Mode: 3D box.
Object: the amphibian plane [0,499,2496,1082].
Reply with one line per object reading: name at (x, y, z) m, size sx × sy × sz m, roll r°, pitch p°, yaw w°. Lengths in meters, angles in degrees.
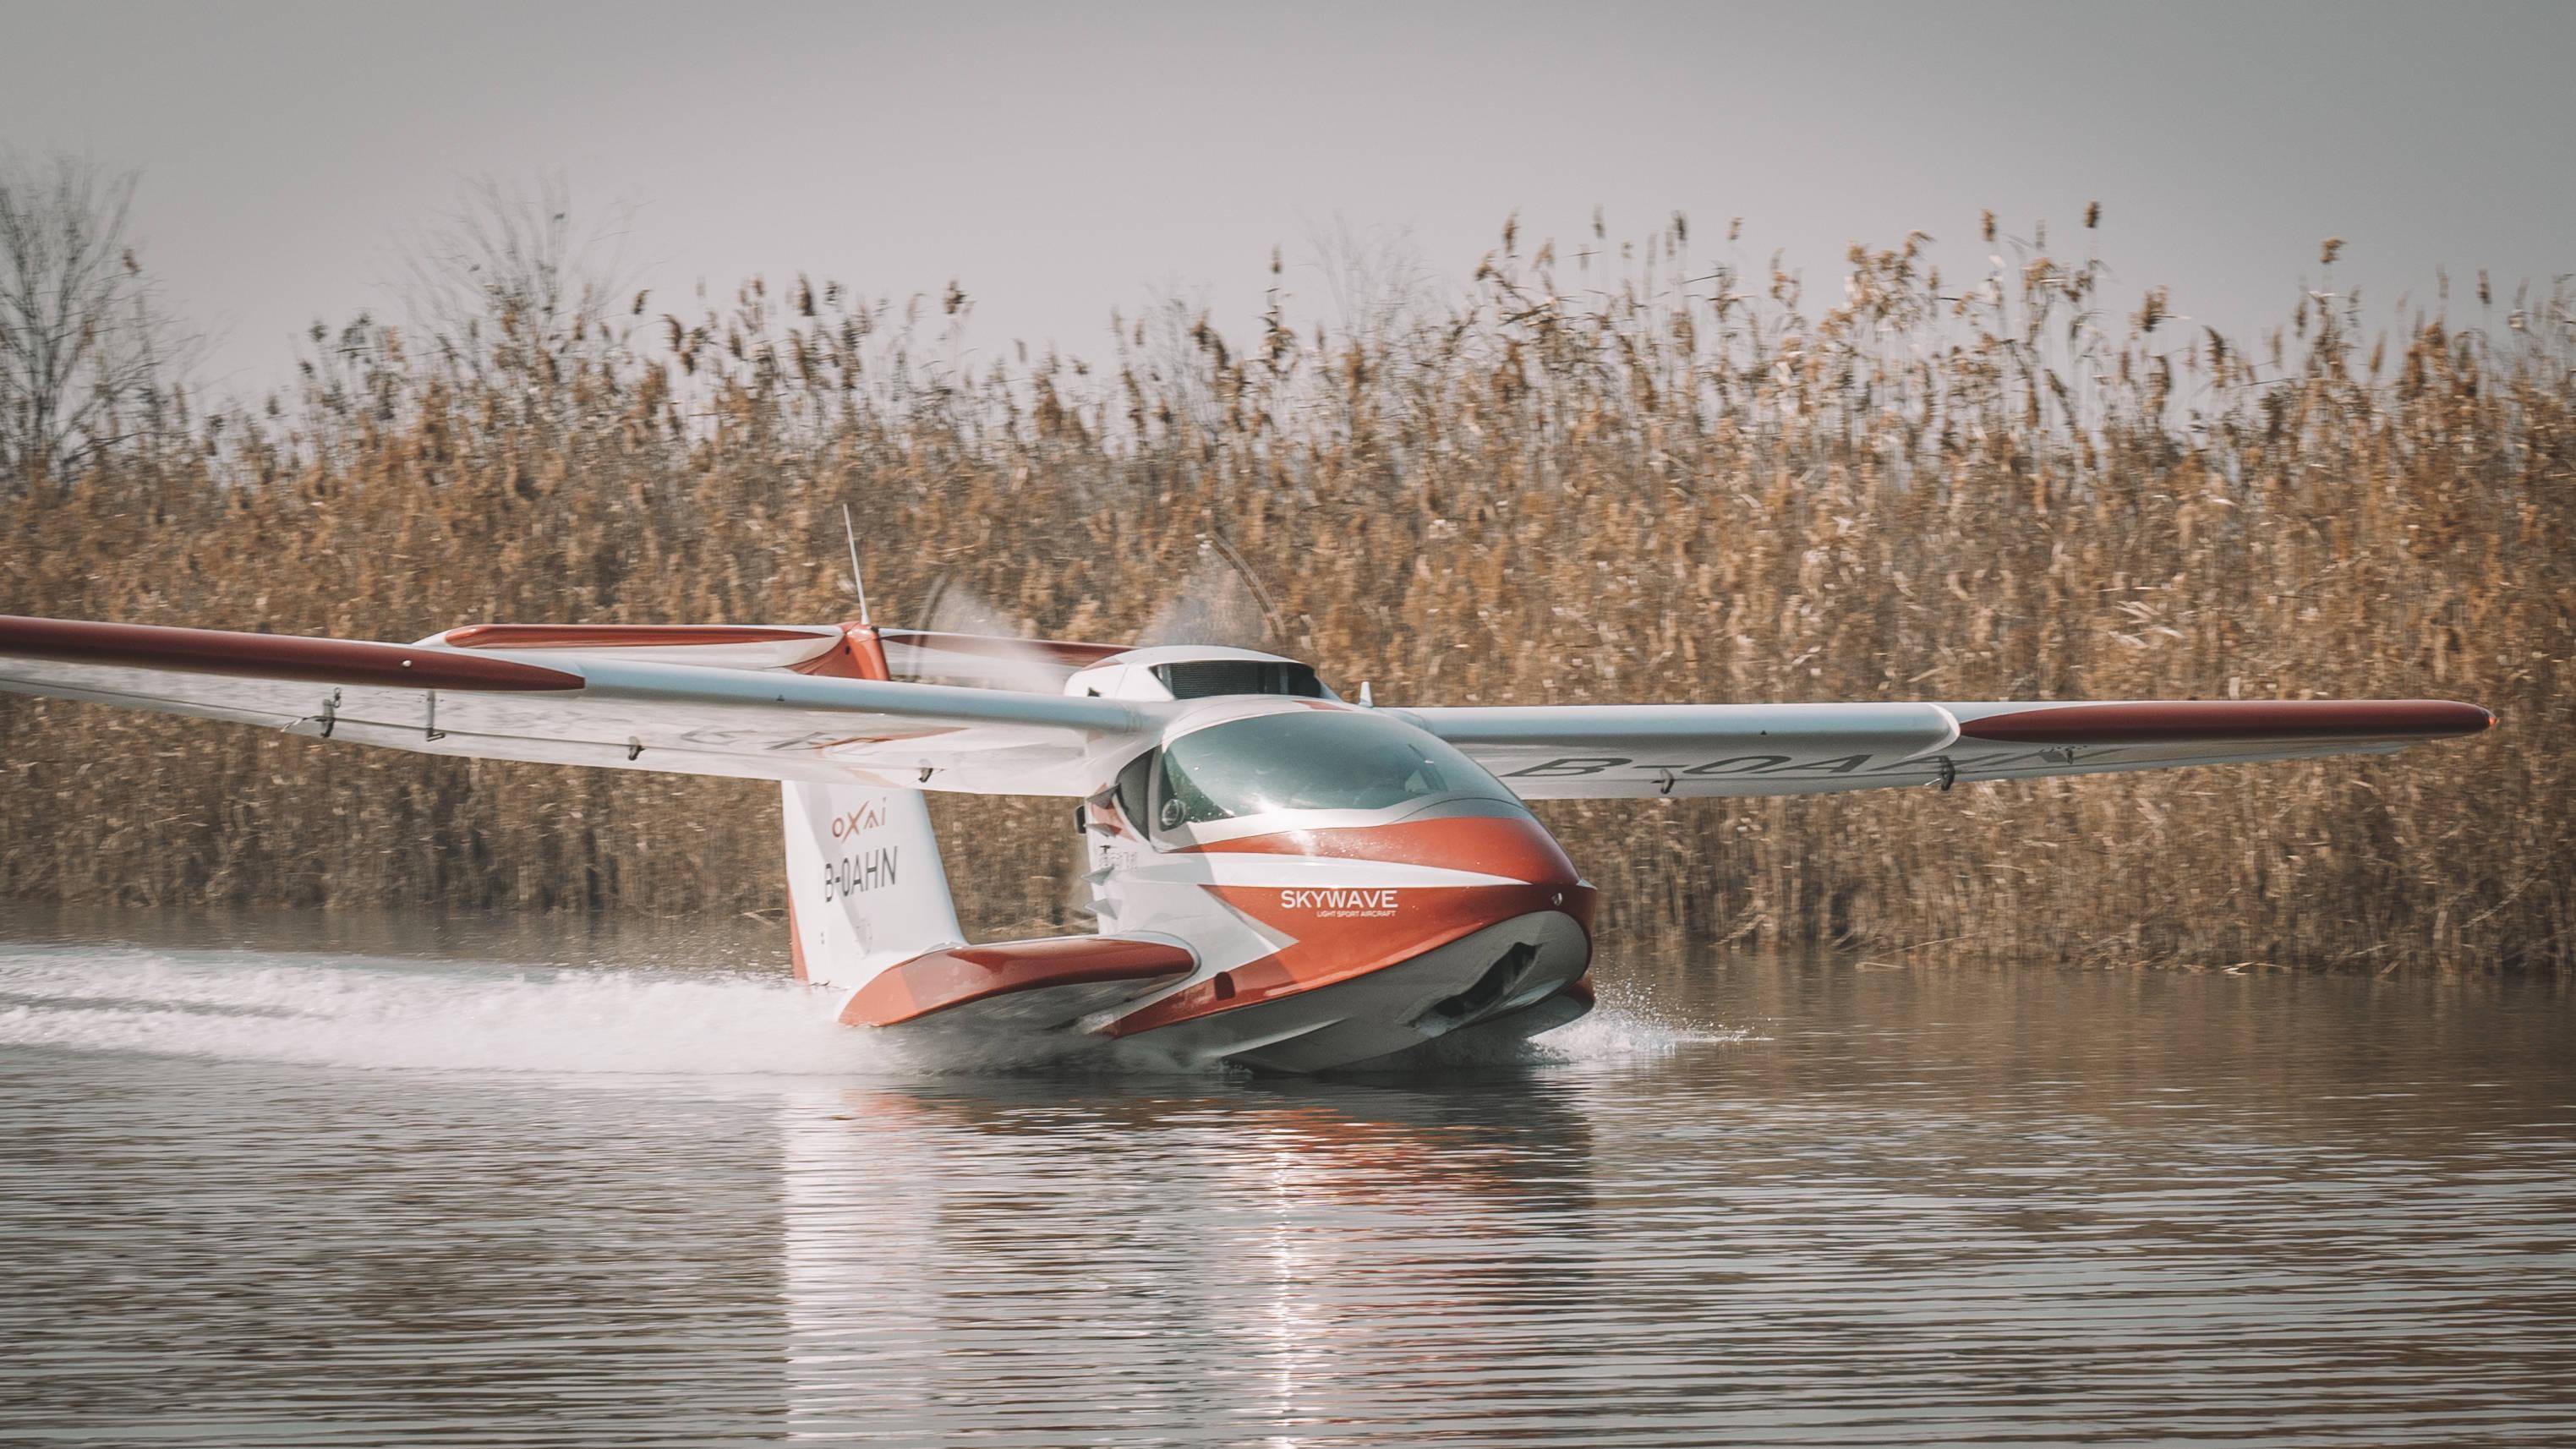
amphibian plane at (-1.072, 0.882, 28.647) m, size 17.097 × 3.420 × 4.503 m, roll 0°, pitch 3°, yaw -3°
